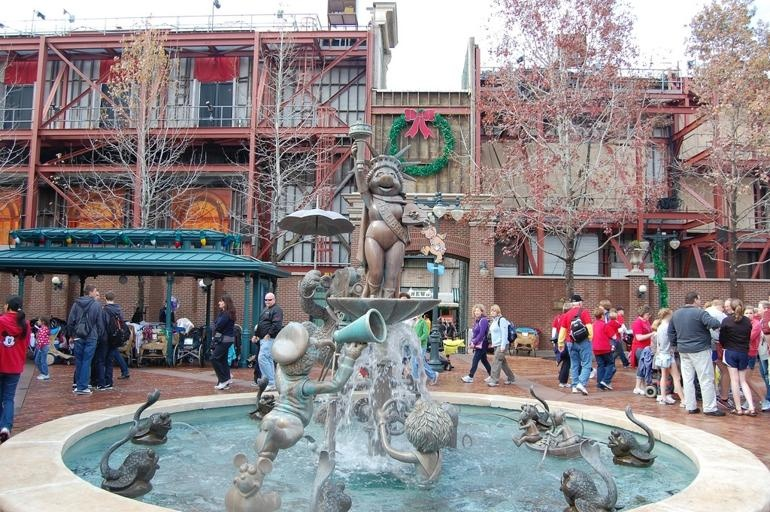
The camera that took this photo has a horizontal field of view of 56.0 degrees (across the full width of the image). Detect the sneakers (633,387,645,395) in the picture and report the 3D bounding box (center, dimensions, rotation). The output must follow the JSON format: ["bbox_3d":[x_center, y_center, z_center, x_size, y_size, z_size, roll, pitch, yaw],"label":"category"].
[{"bbox_3d":[6.854,3.620,19.529,0.264,0.173,0.346,-1,-4,12],"label":"sneakers"}]

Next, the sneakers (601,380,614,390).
[{"bbox_3d":[6.194,3.600,20.206,0.188,0.163,0.476,4,-4,-6],"label":"sneakers"}]

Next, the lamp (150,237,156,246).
[{"bbox_3d":[-8.198,-0.479,25.607,0.214,0.291,0.163,0,-3,-8],"label":"lamp"}]

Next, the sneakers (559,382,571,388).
[{"bbox_3d":[5.090,3.656,20.470,0.335,0.145,0.114,0,-2,-8],"label":"sneakers"}]

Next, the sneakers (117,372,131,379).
[{"bbox_3d":[-7.551,3.497,21.003,0.144,0.127,0.348,-13,-15,37],"label":"sneakers"}]

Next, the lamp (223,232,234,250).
[{"bbox_3d":[-5.632,-0.528,26.215,0.336,0.598,1.083,0,-4,-4],"label":"lamp"}]

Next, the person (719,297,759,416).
[{"bbox_3d":[8.428,2.405,17.321,0.781,2.736,0.599,2,-4,-35],"label":"person"}]

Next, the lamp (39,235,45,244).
[{"bbox_3d":[-12.295,-0.577,25.893,0.322,0.264,0.101,-2,-4,27],"label":"lamp"}]

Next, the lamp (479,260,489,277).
[{"bbox_3d":[4.389,0.525,32.012,0.397,0.703,0.259,0,-3,7],"label":"lamp"}]

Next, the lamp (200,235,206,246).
[{"bbox_3d":[-6.418,-0.540,25.407,0.175,0.280,0.269,4,-19,-13],"label":"lamp"}]

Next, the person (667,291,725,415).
[{"bbox_3d":[7.424,2.328,17.336,1.095,2.905,0.603,-2,-4,25],"label":"person"}]

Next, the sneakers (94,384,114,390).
[{"bbox_3d":[-7.460,3.498,19.243,0.432,0.199,0.161,3,1,9],"label":"sneakers"}]

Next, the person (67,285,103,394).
[{"bbox_3d":[-7.864,2.162,19.017,0.884,2.836,0.907,2,-4,1],"label":"person"}]

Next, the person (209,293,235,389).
[{"bbox_3d":[-4.409,2.344,19.776,0.622,2.497,1.176,1,-3,-12],"label":"person"}]

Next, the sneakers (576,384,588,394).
[{"bbox_3d":[5.252,3.559,19.384,0.124,0.284,0.096,-29,-22,-37],"label":"sneakers"}]

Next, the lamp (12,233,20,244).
[{"bbox_3d":[-13.301,-0.669,26.126,0.203,0.455,0.550,2,-4,-31],"label":"lamp"}]

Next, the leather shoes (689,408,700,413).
[{"bbox_3d":[7.464,3.728,17.506,0.336,0.144,0.113,-2,2,-19],"label":"leather shoes"}]

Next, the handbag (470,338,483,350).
[{"bbox_3d":[2.552,2.484,20.341,0.286,0.272,0.369,-3,-5,38],"label":"handbag"}]

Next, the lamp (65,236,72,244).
[{"bbox_3d":[-11.268,-0.557,25.807,0.207,0.239,0.204,6,-7,-29],"label":"lamp"}]

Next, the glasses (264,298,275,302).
[{"bbox_3d":[-3.124,1.179,19.595,0.224,0.104,0.310,1,-4,-8],"label":"glasses"}]

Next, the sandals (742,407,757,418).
[{"bbox_3d":[8.676,3.741,17.237,0.153,0.124,0.294,1,-2,13],"label":"sandals"}]

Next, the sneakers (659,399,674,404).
[{"bbox_3d":[7.116,3.675,18.387,0.390,0.169,0.142,-3,-2,7],"label":"sneakers"}]

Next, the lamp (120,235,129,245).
[{"bbox_3d":[-9.254,-0.569,25.745,0.309,0.357,0.281,0,2,-10],"label":"lamp"}]

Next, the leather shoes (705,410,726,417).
[{"bbox_3d":[7.858,3.743,17.243,0.465,0.188,0.177,-1,-2,-2],"label":"leather shoes"}]
